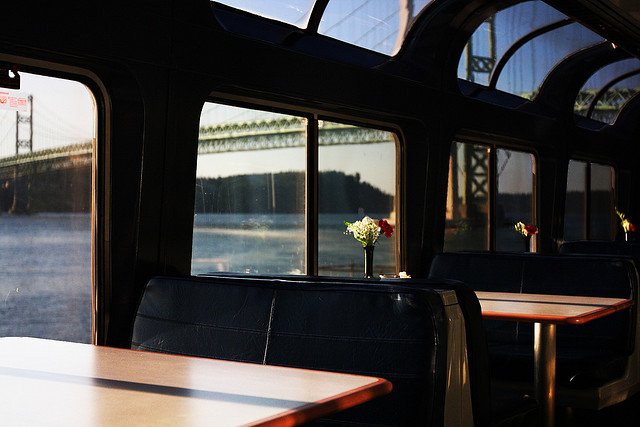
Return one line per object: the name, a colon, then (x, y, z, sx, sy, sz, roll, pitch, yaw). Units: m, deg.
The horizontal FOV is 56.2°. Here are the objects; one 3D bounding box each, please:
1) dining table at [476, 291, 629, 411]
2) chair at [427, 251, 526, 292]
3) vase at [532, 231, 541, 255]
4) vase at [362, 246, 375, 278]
dining table: (1.421, 0.785, 3.729, 0.563, 0.478, 0.558, 23, -21, -23)
chair: (1.306, 0.461, 4.997, 0.777, 0.278, 0.210, 2, 1, 26)
vase: (2.825, 0.355, 7.809, 0.100, 0.271, 0.217, 2, 1, 27)
vase: (0.425, 0.406, 5.260, 0.080, 0.203, 0.159, 1, 1, 0)
